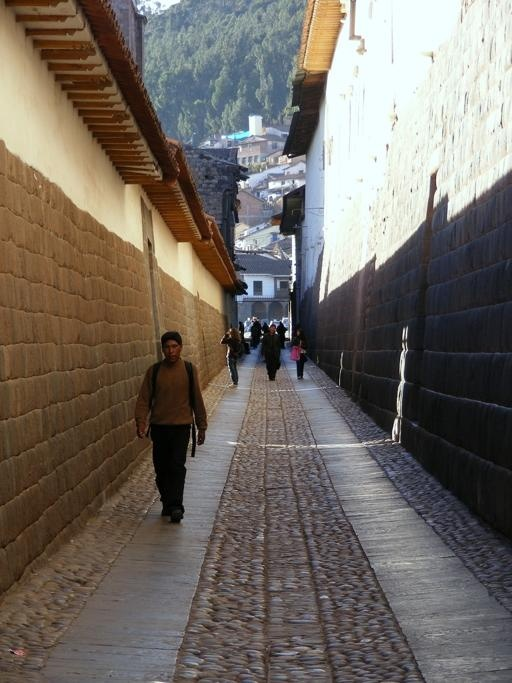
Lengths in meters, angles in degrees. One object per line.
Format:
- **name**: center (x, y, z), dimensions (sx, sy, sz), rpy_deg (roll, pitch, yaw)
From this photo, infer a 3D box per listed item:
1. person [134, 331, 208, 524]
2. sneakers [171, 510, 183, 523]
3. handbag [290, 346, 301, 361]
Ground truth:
- **person**: center (-0.783, 0.772, 4.763), dimensions (0.640, 1.655, 0.487), rpy_deg (3, -8, -16)
- **sneakers**: center (-0.680, 1.522, 4.546), dimensions (0.130, 0.102, 0.132), rpy_deg (6, -11, -30)
- **handbag**: center (1.410, 0.453, 18.878), dimensions (0.331, 0.522, 0.690), rpy_deg (0, -9, 2)
